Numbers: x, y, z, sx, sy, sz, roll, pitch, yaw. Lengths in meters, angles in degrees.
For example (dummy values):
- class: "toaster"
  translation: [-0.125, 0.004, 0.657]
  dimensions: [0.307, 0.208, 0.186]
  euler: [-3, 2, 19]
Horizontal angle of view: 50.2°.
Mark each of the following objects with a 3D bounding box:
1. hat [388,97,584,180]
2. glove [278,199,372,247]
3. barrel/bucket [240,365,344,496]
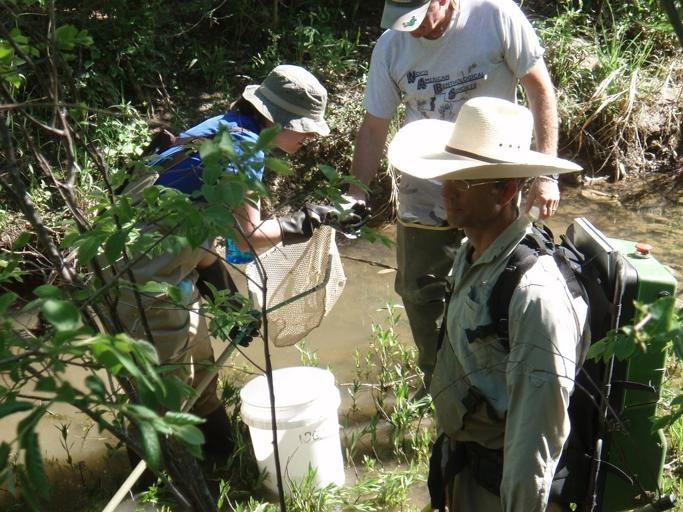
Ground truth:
- class: "hat"
  translation: [0.649, -0.597, 3.712]
  dimensions: [0.674, 0.417, 0.973]
  euler: [-7, 10, -25]
- class: "glove"
  translation: [-0.095, -0.187, 4.191]
  dimensions: [0.382, 0.163, 0.465]
  euler: [15, 36, 35]
- class: "barrel/bucket"
  translation: [-0.209, 0.922, 4.473]
  dimensions: [0.657, 0.686, 0.667]
  euler: [-16, 17, 5]
